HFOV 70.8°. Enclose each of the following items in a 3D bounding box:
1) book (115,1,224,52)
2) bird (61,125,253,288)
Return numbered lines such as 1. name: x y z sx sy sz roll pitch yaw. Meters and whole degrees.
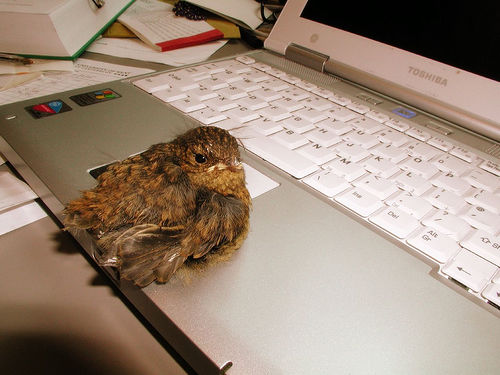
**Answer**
1. book: -0.223 -0.444 0.976 0.158 0.031 0.252 -35 52 -28
2. bird: -0.091 0.010 0.391 0.232 0.140 0.162 -13 51 -4
